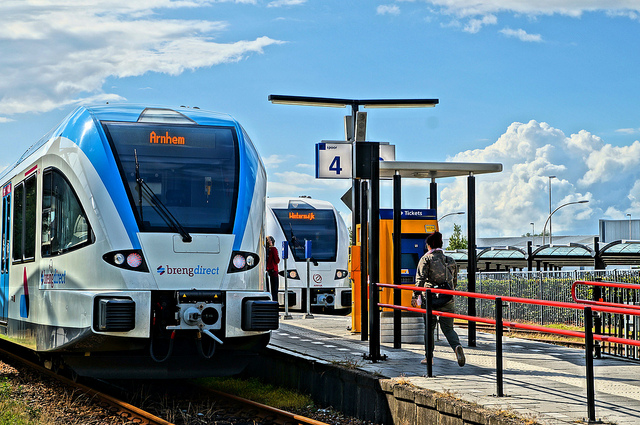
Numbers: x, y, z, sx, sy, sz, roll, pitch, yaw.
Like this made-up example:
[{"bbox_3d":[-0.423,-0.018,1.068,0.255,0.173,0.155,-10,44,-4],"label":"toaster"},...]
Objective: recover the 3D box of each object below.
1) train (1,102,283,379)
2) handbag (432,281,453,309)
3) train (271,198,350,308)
[{"bbox_3d":[-3.184,0.455,15.254,4.810,4.652,2.038,-3,-2,15],"label":"train"},{"bbox_3d":[2.109,1.423,15.962,0.332,0.482,0.168,-1,-10,30],"label":"handbag"},{"bbox_3d":[-0.225,1.137,27.666,2.145,3.326,1.504,-3,-2,1],"label":"train"}]
